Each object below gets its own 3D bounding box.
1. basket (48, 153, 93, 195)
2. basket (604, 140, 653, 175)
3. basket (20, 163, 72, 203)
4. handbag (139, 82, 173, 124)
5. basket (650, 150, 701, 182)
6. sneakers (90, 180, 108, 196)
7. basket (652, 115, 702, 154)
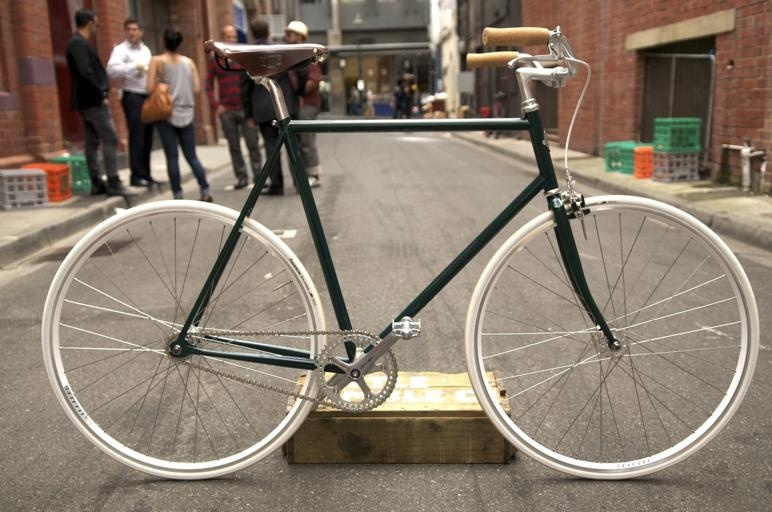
[{"bbox_3d":[-5.029,-1.324,12.213,0.679,0.679,0.670,-4,5,-45],"label":"basket"},{"bbox_3d":[4.566,-1.885,14.183,0.689,0.475,0.718,-2,7,-12],"label":"basket"},{"bbox_3d":[-4.986,-1.092,11.027,0.583,0.533,0.619,0,7,7],"label":"basket"},{"bbox_3d":[-3.316,-2.217,10.874,0.299,0.770,0.741,5,3,-41],"label":"handbag"},{"bbox_3d":[4.891,-1.506,12.666,0.554,0.445,0.584,1,6,-3],"label":"basket"},{"bbox_3d":[-4.412,-1.064,11.565,0.207,0.258,0.240,2,13,4],"label":"sneakers"},{"bbox_3d":[4.840,-2.002,12.610,0.619,0.566,0.654,0,5,3],"label":"basket"}]
